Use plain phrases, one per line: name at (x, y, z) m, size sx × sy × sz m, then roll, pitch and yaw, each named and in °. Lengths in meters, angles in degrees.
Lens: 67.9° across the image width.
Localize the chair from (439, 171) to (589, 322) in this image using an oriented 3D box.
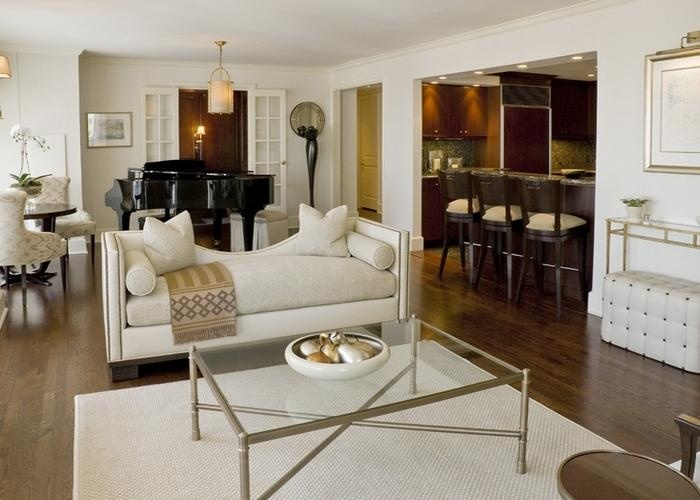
chair at (1.775, -0.018, 5.574) m, size 0.505 × 0.974 × 1.450 m, roll -6°, pitch 10°, yaw -24°

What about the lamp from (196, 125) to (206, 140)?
lamp at (-3.029, -2.367, 10.529) m, size 0.195 × 0.285 × 0.226 m, roll -4°, pitch 14°, yaw -15°

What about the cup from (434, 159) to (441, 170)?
cup at (1.423, -1.408, 8.613) m, size 0.128 × 0.196 × 0.227 m, roll 5°, pitch 15°, yaw 21°

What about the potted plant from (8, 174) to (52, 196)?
potted plant at (-3.860, -0.779, 6.279) m, size 0.521 × 0.263 × 0.488 m, roll 0°, pitch 1°, yaw -18°

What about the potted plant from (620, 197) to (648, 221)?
potted plant at (2.564, -0.357, 4.691) m, size 0.217 × 0.202 × 0.220 m, roll 0°, pitch 2°, yaw -5°

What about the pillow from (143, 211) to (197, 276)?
pillow at (-1.452, -0.059, 4.213) m, size 0.417 × 0.453 × 0.242 m, roll -9°, pitch 16°, yaw -32°

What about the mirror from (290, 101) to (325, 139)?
mirror at (-0.772, -2.341, 9.390) m, size 0.667 × 0.619 × 0.370 m, roll -3°, pitch 14°, yaw -11°

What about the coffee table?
coffee table at (-0.023, 0.748, 2.847) m, size 1.355 × 0.576 × 0.944 m, roll -6°, pitch 15°, yaw -25°

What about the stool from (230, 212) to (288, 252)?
stool at (-1.283, -0.298, 7.401) m, size 0.650 × 0.589 × 0.629 m, roll -7°, pitch 9°, yaw -42°
